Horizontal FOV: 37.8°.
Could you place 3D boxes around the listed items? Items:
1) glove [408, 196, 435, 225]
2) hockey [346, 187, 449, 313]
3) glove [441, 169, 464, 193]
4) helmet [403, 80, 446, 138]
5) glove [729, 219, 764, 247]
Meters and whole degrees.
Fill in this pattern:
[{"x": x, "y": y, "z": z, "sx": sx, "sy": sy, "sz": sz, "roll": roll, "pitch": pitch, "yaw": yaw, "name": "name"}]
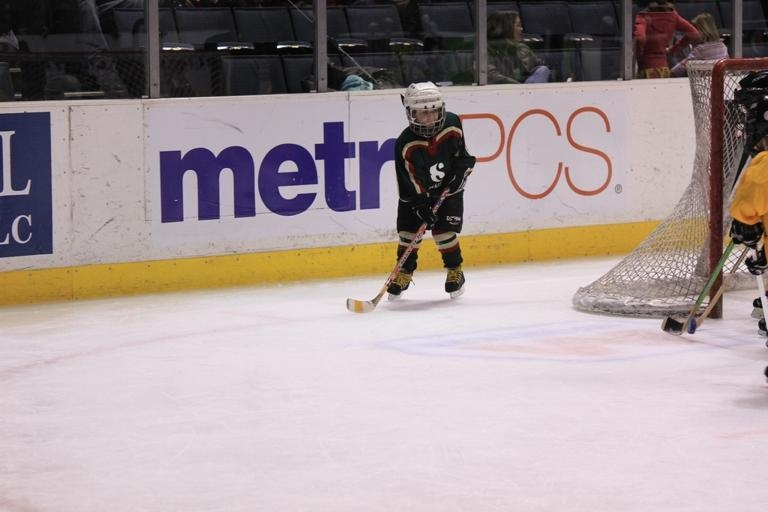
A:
[{"x": 0.250, "y": -0.300, "z": 7.214, "sx": 0.167, "sy": 0.185, "sz": 0.248, "roll": -1, "pitch": 10, "yaw": 2, "name": "glove"}, {"x": 0.072, "y": -0.050, "z": 7.536, "sx": 0.193, "sy": 0.115, "sz": 0.996, "roll": 15, "pitch": 55, "yaw": 26, "name": "hockey"}, {"x": 0.455, "y": -0.475, "z": 7.211, "sx": 0.136, "sy": 0.150, "sz": 0.051, "roll": -1, "pitch": 11, "yaw": 3, "name": "glove"}, {"x": 0.251, "y": -0.934, "z": 7.070, "sx": 0.279, "sy": 0.294, "sz": 0.333, "roll": -7, "pitch": 28, "yaw": -11, "name": "helmet"}, {"x": 1.924, "y": -0.118, "z": 5.999, "sx": 0.141, "sy": 0.126, "sz": 0.156, "roll": -4, "pitch": -14, "yaw": -34, "name": "glove"}]
